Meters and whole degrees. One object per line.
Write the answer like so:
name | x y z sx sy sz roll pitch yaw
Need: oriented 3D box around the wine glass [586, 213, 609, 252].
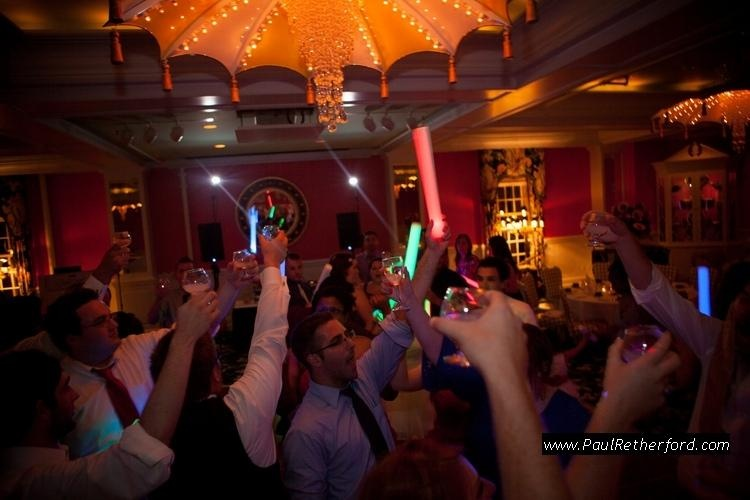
wine glass | 1.341 -0.108 2.988 0.098 0.208 0.163 -6 -1 -35

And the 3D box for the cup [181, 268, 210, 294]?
cup | -1.066 0.165 2.990 0.161 0.221 0.158 -3 3 0

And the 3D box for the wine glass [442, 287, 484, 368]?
wine glass | 0.358 0.316 2.089 0.224 0.299 0.120 -11 -25 24

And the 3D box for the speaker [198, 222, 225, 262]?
speaker | -2.954 -0.163 9.042 0.502 0.693 0.181 -1 3 -5

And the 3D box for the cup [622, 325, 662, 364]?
cup | 1.010 0.343 1.958 0.143 0.137 0.146 13 6 -1

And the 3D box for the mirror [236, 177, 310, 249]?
mirror | -1.653 -0.659 7.903 1.458 1.418 0.119 3 -3 -10
